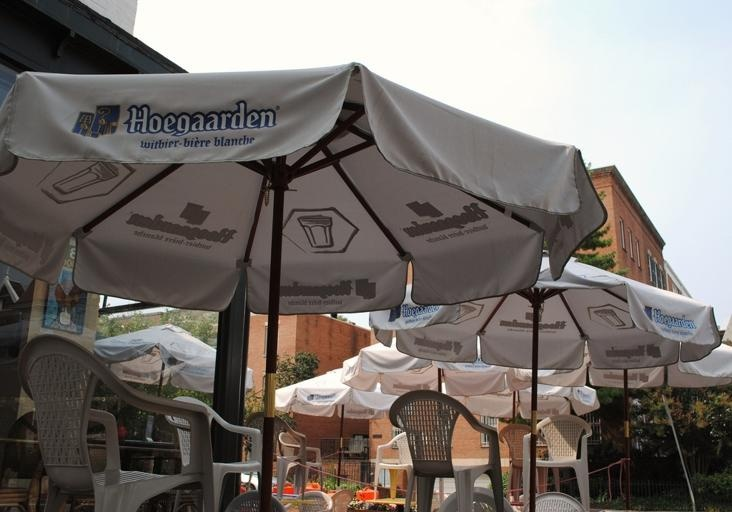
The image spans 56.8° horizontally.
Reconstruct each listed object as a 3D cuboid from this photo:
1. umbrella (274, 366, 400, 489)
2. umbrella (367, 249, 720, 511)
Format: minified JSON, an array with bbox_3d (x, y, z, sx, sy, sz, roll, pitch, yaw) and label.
[{"bbox_3d":[-0.724,3.623,15.954,2.781,2.152,2.840,-6,-9,23],"label":"umbrella"},{"bbox_3d":[2.611,2.160,10.014,4.347,3.645,4.975,-7,-9,6],"label":"umbrella"}]
